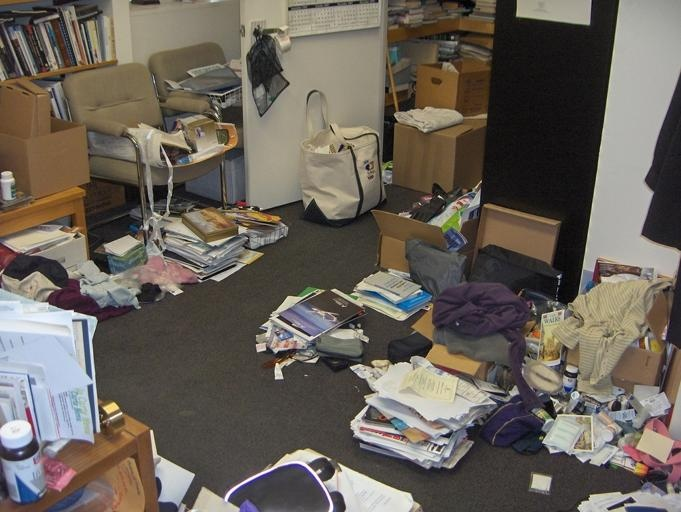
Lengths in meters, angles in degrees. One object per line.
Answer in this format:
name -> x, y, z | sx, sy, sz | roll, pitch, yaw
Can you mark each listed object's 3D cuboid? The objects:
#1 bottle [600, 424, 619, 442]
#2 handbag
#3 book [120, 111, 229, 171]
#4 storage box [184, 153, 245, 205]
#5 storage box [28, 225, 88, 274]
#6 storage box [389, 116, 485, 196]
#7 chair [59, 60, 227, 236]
bottle -> 1.151, 0.749, 2.222 | 0.069, 0.045, 0.072 | -12, 26, 6
handbag -> -0.017, -0.757, 4.019 | 0.643, 1.032, 0.795 | 17, 31, 33
book -> -1.061, -0.760, 3.415 | 0.456, 0.186, 0.457 | 19, 27, 36
storage box -> -0.934, -0.595, 3.918 | 0.181, 0.228, 0.337 | -32, 33, -24
storage box -> -1.664, -0.038, 3.087 | 0.254, 0.161, 0.260 | 22, 34, 24
storage box -> 0.862, -0.899, 4.494 | 0.696, 0.540, 0.705 | -17, 27, -39
chair -> -1.282, -0.981, 3.812 | 1.123, 1.290, 1.023 | 23, 35, 33
